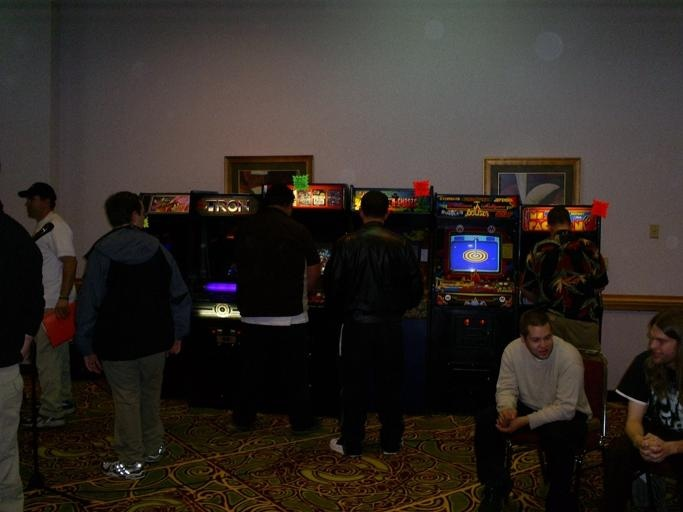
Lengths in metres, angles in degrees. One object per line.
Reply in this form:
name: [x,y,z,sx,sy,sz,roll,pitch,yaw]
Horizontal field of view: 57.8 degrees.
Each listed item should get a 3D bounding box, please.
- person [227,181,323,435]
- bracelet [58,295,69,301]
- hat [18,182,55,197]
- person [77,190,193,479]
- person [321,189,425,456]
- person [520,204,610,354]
person: [-0.508,0.430,4.887,0.633,1.950,0.376,4,12,15]
bracelet: [-2.188,0.329,4.897,0.068,0.047,0.042,-7,14,-35]
hat: [-2.494,-0.527,5.058,0.273,0.103,0.169,-1,3,-14]
person: [-1.482,0.538,4.377,0.593,1.947,0.596,6,13,23]
person: [0.220,0.525,4.543,0.568,1.951,0.510,10,15,39]
person: [1.861,0.387,5.028,0.592,1.592,0.523,3,25,39]
